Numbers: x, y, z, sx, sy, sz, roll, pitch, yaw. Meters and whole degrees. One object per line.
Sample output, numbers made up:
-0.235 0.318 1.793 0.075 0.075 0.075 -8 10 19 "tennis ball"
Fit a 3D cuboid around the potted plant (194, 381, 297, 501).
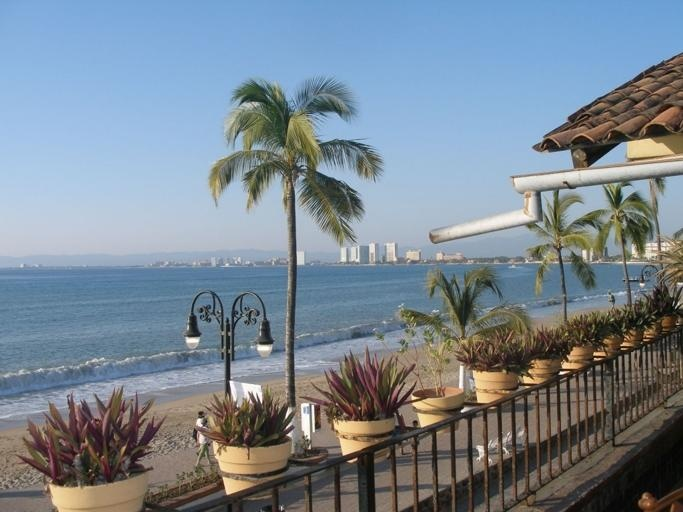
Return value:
-1.245 2.203 7.230 1.309 1.422 1.195 5 -10 -37 "potted plant"
